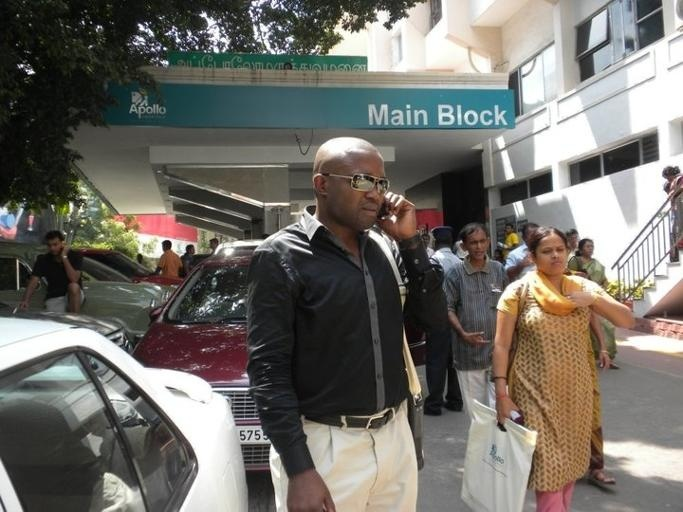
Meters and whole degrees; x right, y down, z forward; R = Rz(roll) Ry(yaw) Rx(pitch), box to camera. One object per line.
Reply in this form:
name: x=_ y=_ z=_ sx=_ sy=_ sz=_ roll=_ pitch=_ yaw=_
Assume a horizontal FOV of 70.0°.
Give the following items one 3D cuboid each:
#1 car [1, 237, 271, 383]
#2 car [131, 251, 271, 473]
car: x=-2.238 y=0.462 z=5.102 sx=3.394 sy=1.266 sz=1.530 roll=-1 pitch=4 yaw=2
car: x=-1.323 y=0.675 z=4.838 sx=1.048 sy=1.103 sz=2.728 roll=0 pitch=-2 yaw=-1
